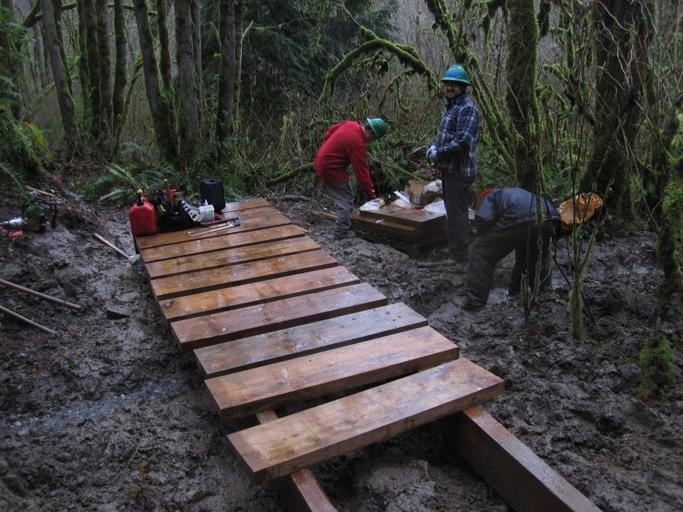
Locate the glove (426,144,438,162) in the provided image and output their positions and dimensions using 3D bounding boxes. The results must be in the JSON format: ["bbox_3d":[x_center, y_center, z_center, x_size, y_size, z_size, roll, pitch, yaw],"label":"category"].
[{"bbox_3d":[1.119,-1.279,6.048,0.071,0.188,0.132,12,19,-17],"label":"glove"}]

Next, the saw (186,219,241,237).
[{"bbox_3d":[-1.593,-0.356,6.203,0.504,0.084,0.274,-12,19,-17],"label":"saw"}]

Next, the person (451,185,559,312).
[{"bbox_3d":[1.933,-0.175,5.573,0.985,1.496,0.884,-1,-12,17],"label":"person"}]

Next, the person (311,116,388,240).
[{"bbox_3d":[0.100,-1.245,7.190,0.906,1.521,1.022,-15,29,-27],"label":"person"}]

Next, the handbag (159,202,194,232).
[{"bbox_3d":[-2.112,-0.484,6.170,0.323,0.129,0.351,-1,31,-18],"label":"handbag"}]

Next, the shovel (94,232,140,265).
[{"bbox_3d":[-2.694,-0.084,5.825,0.446,0.064,0.145,43,34,-2],"label":"shovel"}]

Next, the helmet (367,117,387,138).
[{"bbox_3d":[0.496,-1.823,6.924,0.259,0.258,0.289,2,26,6],"label":"helmet"}]

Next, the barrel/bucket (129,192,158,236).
[{"bbox_3d":[-2.405,-0.533,5.890,0.278,0.532,0.194,-9,34,-26],"label":"barrel/bucket"}]

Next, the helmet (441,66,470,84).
[{"bbox_3d":[1.431,-2.213,6.009,0.304,0.200,0.283,2,7,-17],"label":"helmet"}]
